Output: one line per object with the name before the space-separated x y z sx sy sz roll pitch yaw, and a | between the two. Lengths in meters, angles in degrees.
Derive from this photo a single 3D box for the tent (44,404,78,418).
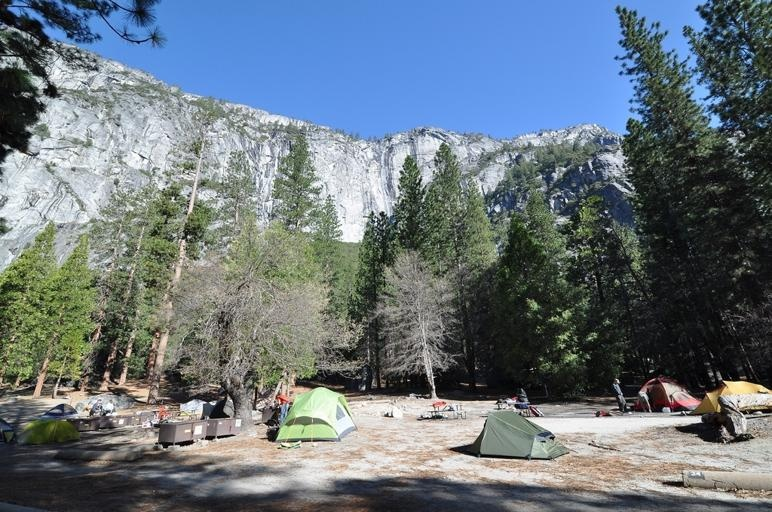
tent | -21.666 10.341 28.060 1.291 0.575 1.168 -4 -13 15

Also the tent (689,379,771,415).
tent | 18.823 7.500 23.069 3.081 1.226 2.381 -16 -28 18

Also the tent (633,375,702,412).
tent | 18.165 9.292 27.558 2.665 1.402 2.691 0 -11 9

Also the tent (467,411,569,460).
tent | 6.104 8.391 19.538 2.679 0.962 2.737 -10 -12 32
